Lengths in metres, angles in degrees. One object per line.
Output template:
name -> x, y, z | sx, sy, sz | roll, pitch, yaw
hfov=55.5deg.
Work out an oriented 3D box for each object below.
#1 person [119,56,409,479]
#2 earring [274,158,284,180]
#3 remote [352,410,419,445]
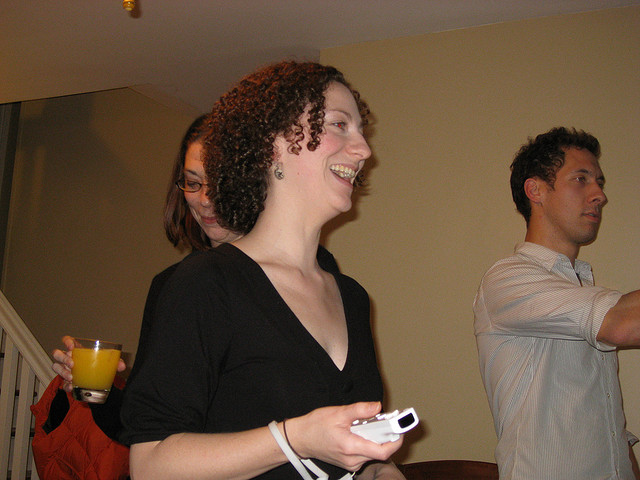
person -> -0.157, 0.073, 2.157 | 0.903, 1.485, 0.523 | 2, -8, 6
earring -> -0.146, -0.237, 2.160 | 0.029, 0.044, 0.012 | 5, 10, 25
remote -> 0.197, 0.559, 1.831 | 0.176, 0.060, 0.098 | -12, 14, 18
